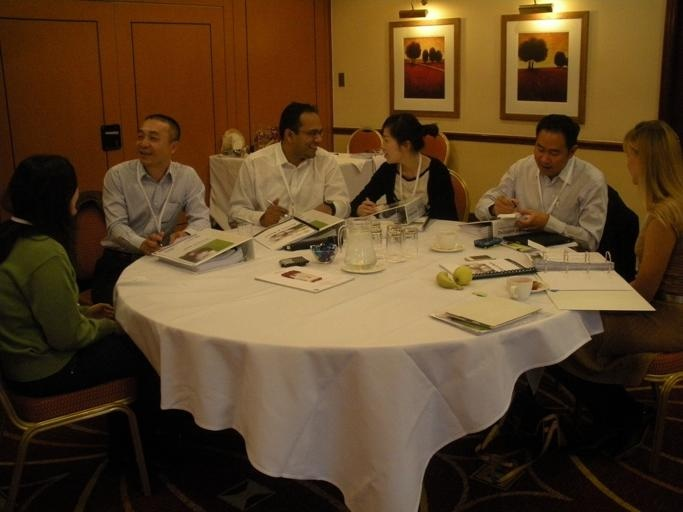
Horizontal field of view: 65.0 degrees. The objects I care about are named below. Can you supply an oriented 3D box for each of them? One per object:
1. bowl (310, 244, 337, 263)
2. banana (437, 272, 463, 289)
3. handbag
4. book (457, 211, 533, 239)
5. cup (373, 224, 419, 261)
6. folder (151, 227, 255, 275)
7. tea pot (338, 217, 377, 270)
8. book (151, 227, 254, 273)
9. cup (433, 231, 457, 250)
[{"bbox_3d":[-0.087,-0.024,2.647,0.084,0.066,0.093,0,5,-4],"label":"bowl"},{"bbox_3d":[0.455,0.100,2.303,0.051,0.045,0.108,-14,16,-20],"label":"banana"},{"bbox_3d":[1.013,0.763,2.772,0.405,0.471,0.311,-3,11,-19],"label":"handbag"},{"bbox_3d":[0.809,-0.170,3.001,0.191,0.081,0.195,-13,12,-31],"label":"book"},{"bbox_3d":[0.276,-0.106,2.719,0.181,0.213,0.194,-1,9,0],"label":"cup"},{"bbox_3d":[-0.711,-0.090,2.672,0.339,0.131,0.260,7,32,43],"label":"folder"},{"bbox_3d":[0.076,-0.047,2.551,0.142,0.244,0.232,-1,7,-1],"label":"tea pot"},{"bbox_3d":[-0.704,-0.038,2.683,0.339,0.128,0.256,8,23,40],"label":"book"},{"bbox_3d":[0.534,-0.095,2.758,0.096,0.079,0.085,-6,11,-9],"label":"cup"}]
